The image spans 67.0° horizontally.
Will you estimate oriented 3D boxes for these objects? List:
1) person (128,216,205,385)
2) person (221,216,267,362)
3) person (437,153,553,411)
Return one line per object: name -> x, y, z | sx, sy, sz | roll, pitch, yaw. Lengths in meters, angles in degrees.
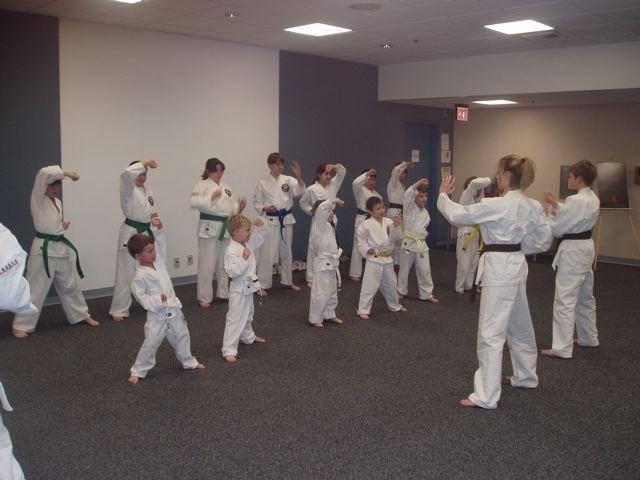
person -> -1.313, 0.564, 4.023 | 0.574, 1.244, 0.466 | -9, 18, -30
person -> -0.707, 0.417, 4.512 | 0.398, 1.291, 0.604 | -1, 10, -6
person -> 1.333, 0.289, 3.729 | 0.752, 1.857, 0.527 | -7, 12, -35
